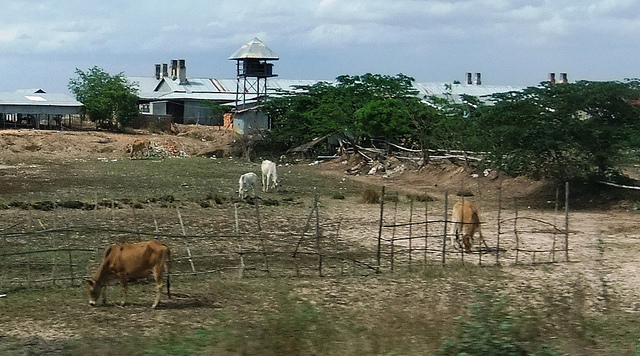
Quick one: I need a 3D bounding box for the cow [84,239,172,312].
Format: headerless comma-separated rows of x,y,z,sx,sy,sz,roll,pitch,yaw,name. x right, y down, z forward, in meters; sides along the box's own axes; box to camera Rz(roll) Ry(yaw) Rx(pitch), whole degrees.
-7.212,3.635,30.735,1.059,2.274,3.775,-5,-1,41,cow

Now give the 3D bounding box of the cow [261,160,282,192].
-2.700,-0.194,47.180,1.098,1.679,3.191,3,11,-2,cow

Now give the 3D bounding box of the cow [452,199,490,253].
6.481,2.025,36.769,1.231,2.184,2.191,6,12,8,cow

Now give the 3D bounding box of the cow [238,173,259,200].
-3.718,0.402,44.688,0.677,1.305,2.091,7,-3,-5,cow
